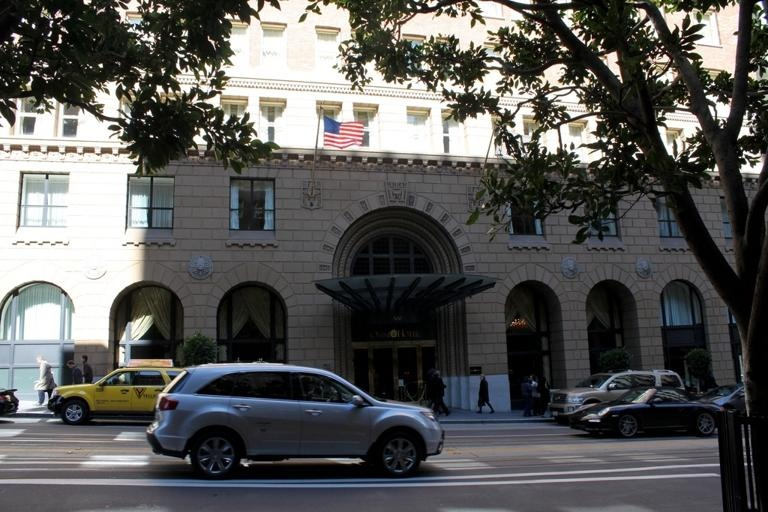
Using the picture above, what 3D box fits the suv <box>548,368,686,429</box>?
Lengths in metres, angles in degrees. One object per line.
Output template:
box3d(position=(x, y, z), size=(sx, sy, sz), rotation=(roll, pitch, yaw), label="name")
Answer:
box3d(position=(9.047, 5.529, 28.005), size=(4.646, 1.843, 2.255), rotation=(3, -11, -15), label="suv")

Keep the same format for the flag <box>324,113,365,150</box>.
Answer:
box3d(position=(-1.797, -5.388, 31.259), size=(2.003, 2.031, 0.284), rotation=(3, -17, -19), label="flag")

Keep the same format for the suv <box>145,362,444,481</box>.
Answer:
box3d(position=(-2.107, 3.760, 17.105), size=(6.038, 2.185, 2.741), rotation=(0, -9, -7), label="suv")

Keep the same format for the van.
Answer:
box3d(position=(-9.329, 4.790, 25.532), size=(4.694, 1.872, 2.143), rotation=(2, -9, -3), label="van")
